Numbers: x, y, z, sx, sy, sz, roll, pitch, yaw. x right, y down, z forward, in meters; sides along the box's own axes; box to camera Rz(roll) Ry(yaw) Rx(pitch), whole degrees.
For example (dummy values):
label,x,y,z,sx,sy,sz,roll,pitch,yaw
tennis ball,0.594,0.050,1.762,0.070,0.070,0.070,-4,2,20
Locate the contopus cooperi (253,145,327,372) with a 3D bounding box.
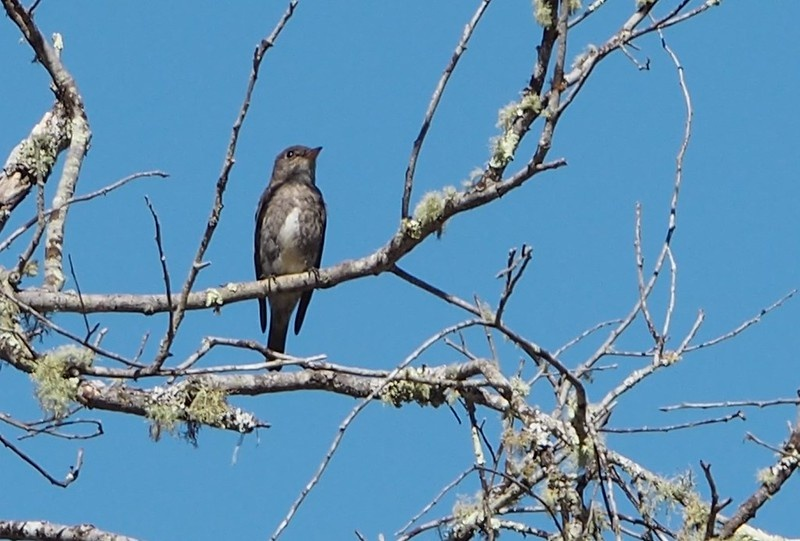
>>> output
label,x,y,z,sx,sy,sz,roll,pitch,yaw
contopus cooperi,-0.926,-0.083,10.826,0.488,0.951,1.857,2,-82,-7
